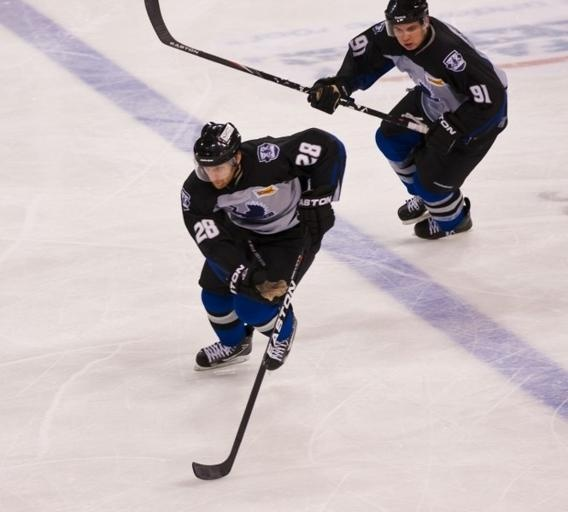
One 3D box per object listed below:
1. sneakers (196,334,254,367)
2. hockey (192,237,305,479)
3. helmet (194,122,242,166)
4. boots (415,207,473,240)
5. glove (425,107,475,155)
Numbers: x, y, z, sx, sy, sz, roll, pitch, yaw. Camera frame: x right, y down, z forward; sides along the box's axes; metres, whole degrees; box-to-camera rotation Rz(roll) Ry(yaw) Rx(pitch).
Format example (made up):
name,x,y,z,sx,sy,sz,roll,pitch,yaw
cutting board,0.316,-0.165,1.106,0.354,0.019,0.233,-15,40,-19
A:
name,x,y,z,sx,sy,sz,roll,pitch,yaw
sneakers,-0.199,0.390,3.043,0.319,0.099,0.082,-7,38,-19
hockey,0.005,0.316,2.788,0.173,0.138,1.256,20,46,15
helmet,-0.242,-0.409,2.714,0.184,0.092,0.187,2,40,18
boots,0.810,-0.153,3.756,0.426,0.095,0.157,-9,-16,17
glove,0.799,-0.585,3.418,0.181,0.244,0.137,47,30,1
